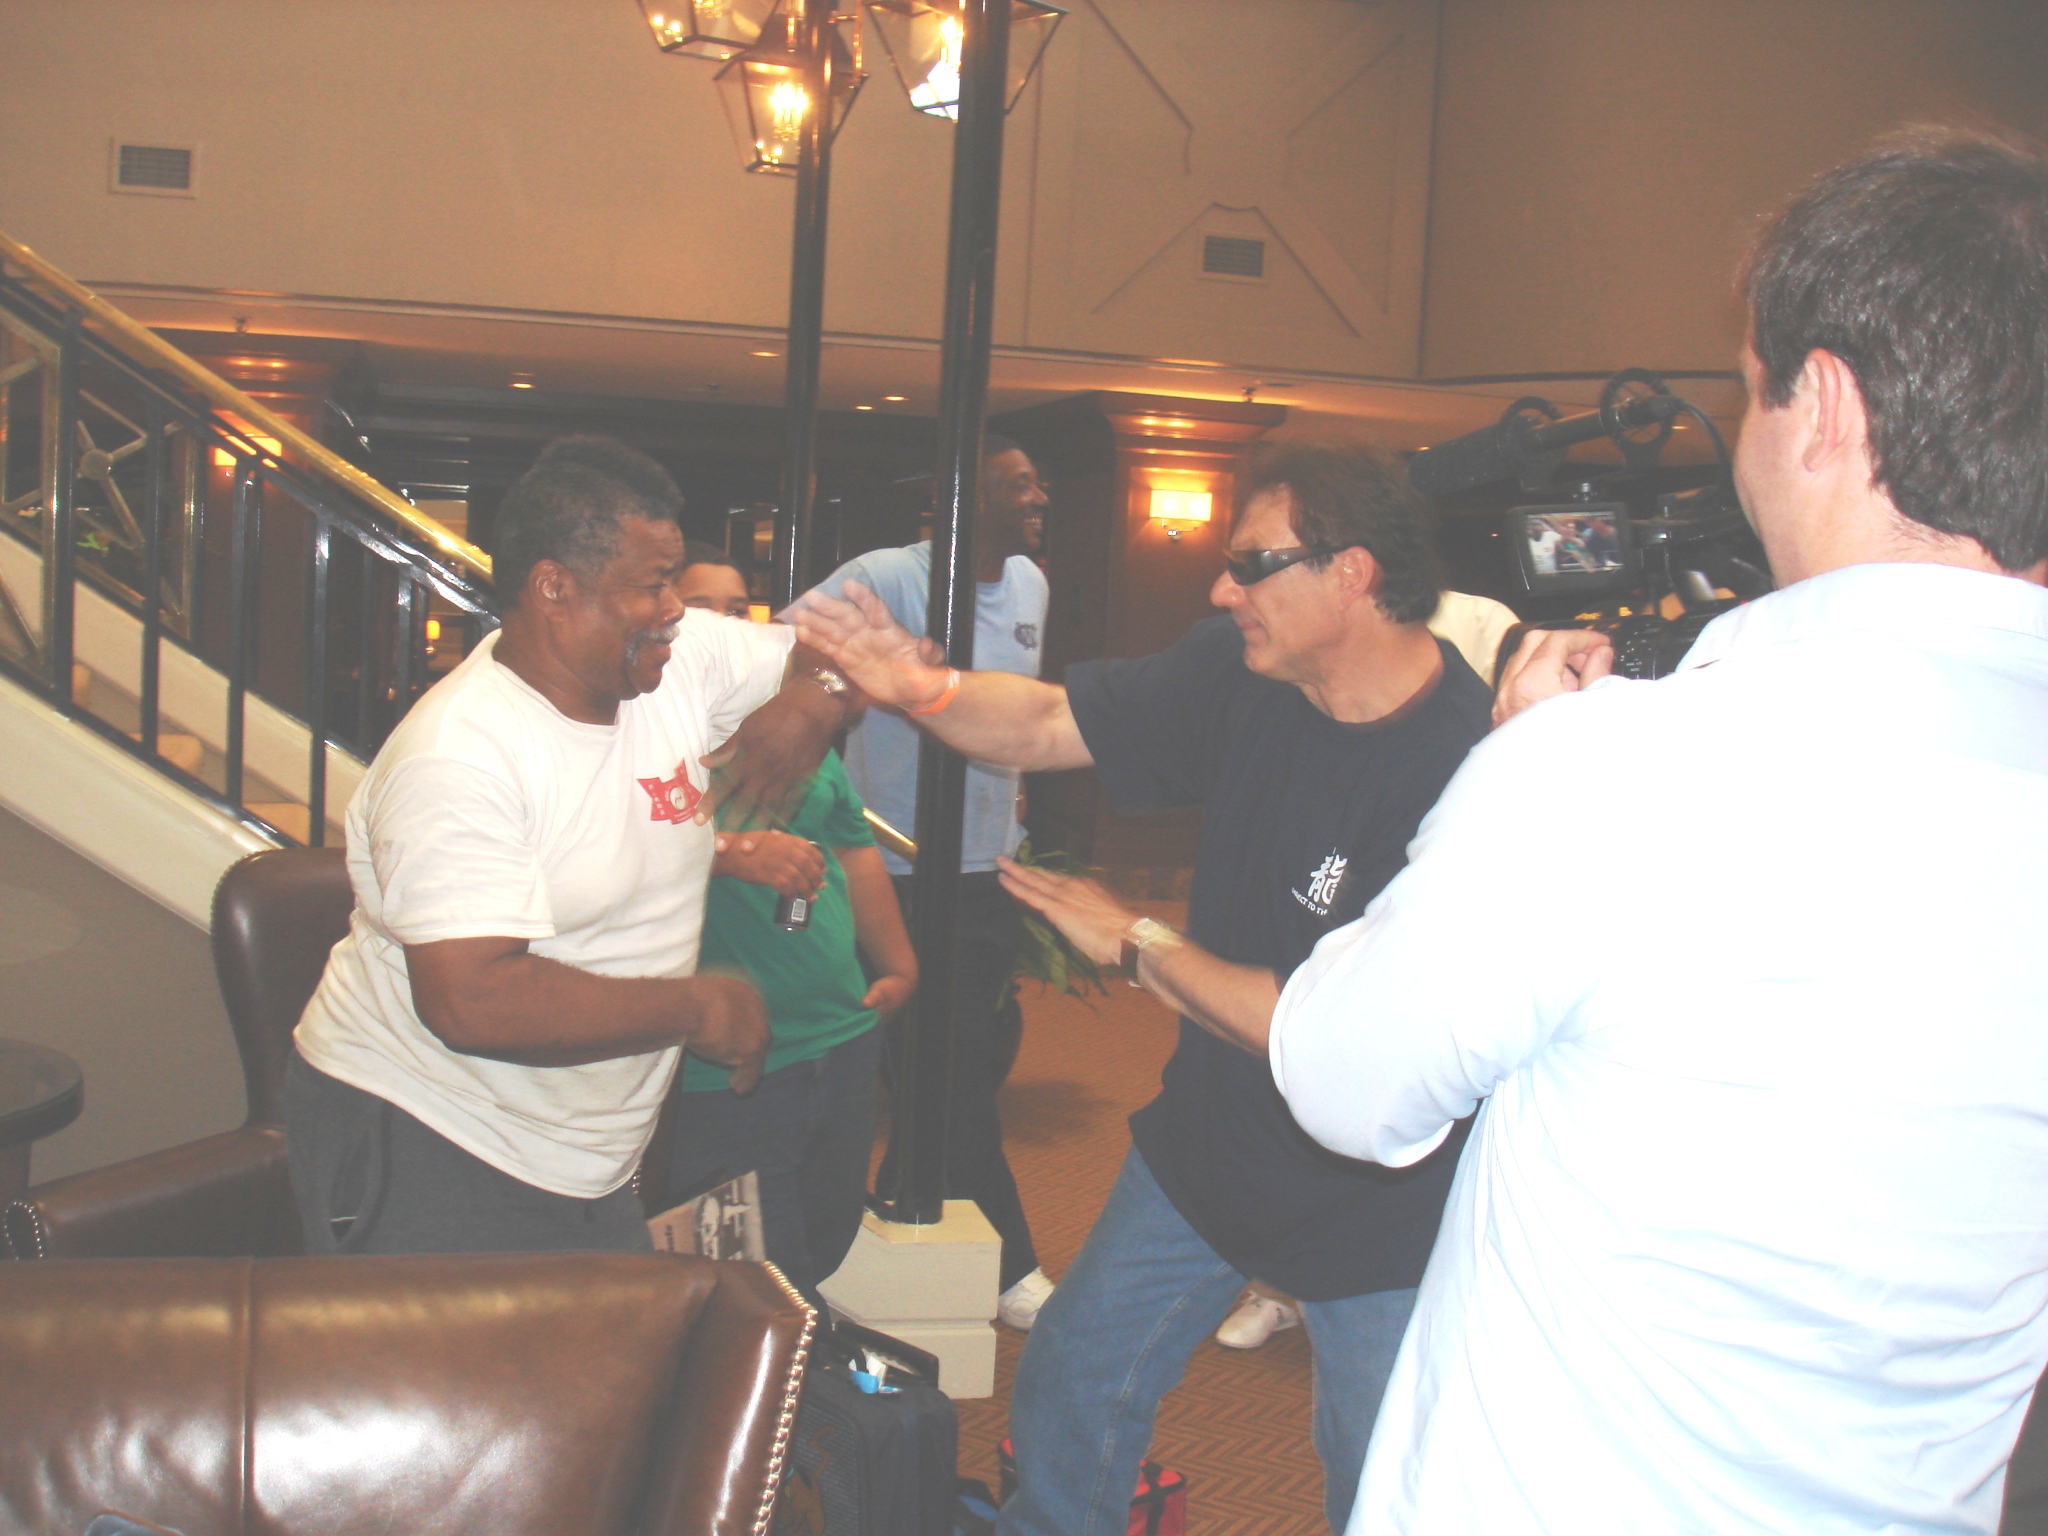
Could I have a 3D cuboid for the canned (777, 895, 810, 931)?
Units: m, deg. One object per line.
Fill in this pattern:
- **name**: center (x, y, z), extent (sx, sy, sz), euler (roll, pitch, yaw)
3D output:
- **canned**: center (-0.387, 0.248, 2.986), extent (0.050, 0.050, 0.089), euler (1, -24, -18)
